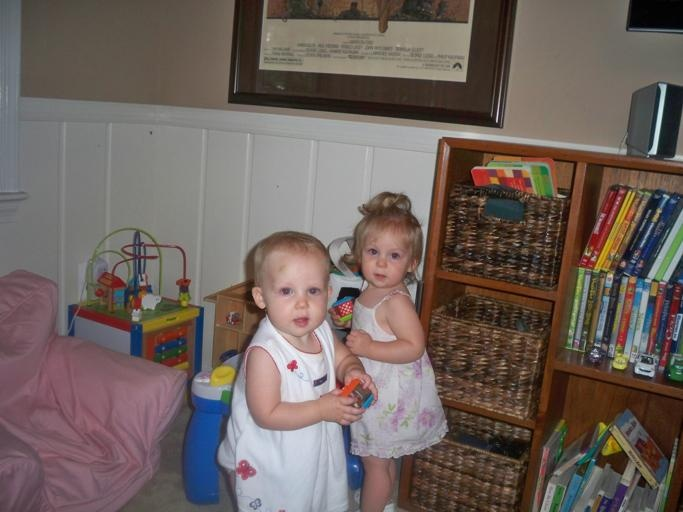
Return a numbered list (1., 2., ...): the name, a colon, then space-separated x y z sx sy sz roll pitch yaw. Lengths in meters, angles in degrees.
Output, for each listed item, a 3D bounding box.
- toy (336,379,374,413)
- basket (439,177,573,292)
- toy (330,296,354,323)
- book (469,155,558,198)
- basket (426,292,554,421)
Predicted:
1. toy: 0.050 0.406 1.623 0.088 0.025 0.092 29 23 -7
2. basket: 0.578 -0.074 1.883 0.465 0.399 0.332 8 7 22
3. toy: 0.004 0.203 2.093 0.085 0.086 0.089 -17 -15 -1
4. book: 0.606 -0.274 1.882 0.181 0.138 0.015 5 31 28
5. basket: 0.555 0.361 2.127 0.411 0.322 0.445 0 32 12
